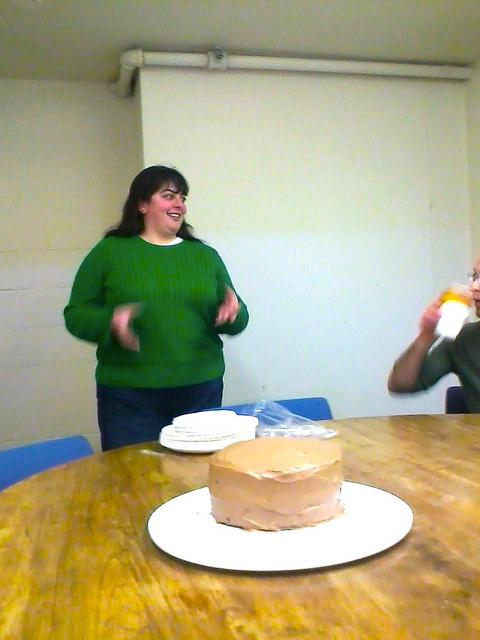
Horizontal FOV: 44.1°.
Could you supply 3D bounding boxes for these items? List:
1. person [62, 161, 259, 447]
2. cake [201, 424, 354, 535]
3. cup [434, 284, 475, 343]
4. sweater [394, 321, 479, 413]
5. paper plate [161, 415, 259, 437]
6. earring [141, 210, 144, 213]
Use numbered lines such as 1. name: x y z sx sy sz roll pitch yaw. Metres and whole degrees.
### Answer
1. person: -0.269 -0.079 2.079 0.587 0.959 0.313 -7 5 -44
2. cake: 0.040 0.217 0.804 0.198 0.082 0.174 1 2 -10
3. cup: 0.683 -0.027 1.907 0.135 0.163 0.099 0 5 37
4. sweater: 0.695 0.157 1.957 0.089 0.326 0.203 -6 49 -52
5. paper plate: -0.063 0.208 1.233 0.203 0.049 0.103 2 -2 -32
6. earring: -0.340 -0.384 2.085 0.002 0.007 0.008 -10 15 -41
